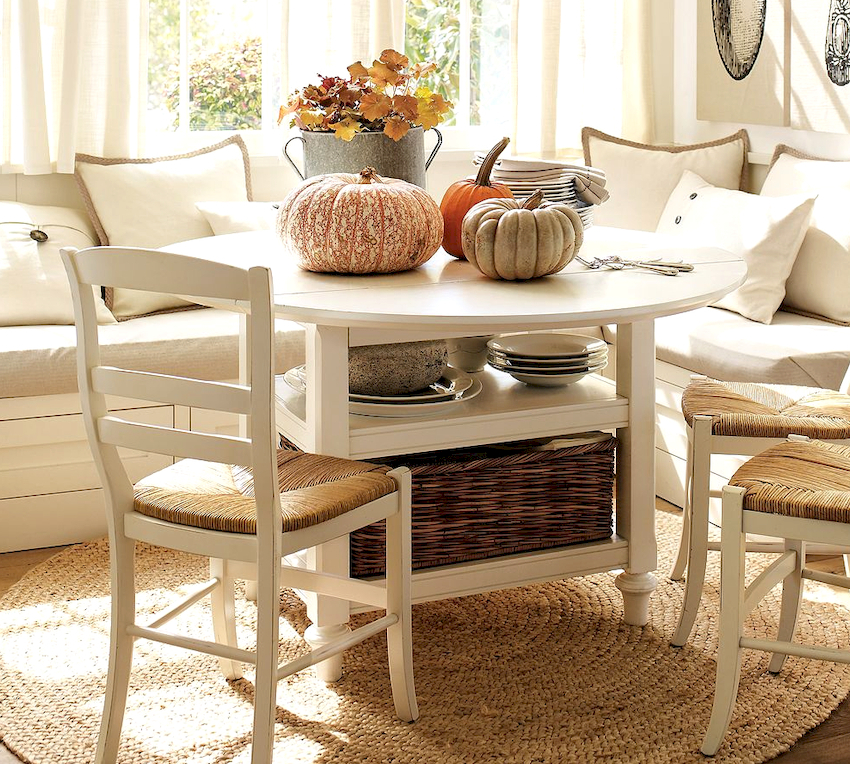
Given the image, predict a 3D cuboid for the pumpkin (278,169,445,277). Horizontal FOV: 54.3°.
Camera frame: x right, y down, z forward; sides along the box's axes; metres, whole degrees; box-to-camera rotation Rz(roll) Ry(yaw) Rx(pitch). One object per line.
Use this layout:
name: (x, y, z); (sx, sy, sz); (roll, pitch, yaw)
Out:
pumpkin: (-0.111, -0.308, 1.617); (0.289, 0.158, 0.268); (0, 17, -5)

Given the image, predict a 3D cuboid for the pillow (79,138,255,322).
pillow: (-0.866, -0.532, 2.938); (0.672, 0.558, 0.229); (-21, 21, -33)

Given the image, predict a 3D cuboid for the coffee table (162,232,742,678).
coffee table: (0.023, 0.007, 1.827); (1.092, 0.622, 1.018); (-6, 15, -24)

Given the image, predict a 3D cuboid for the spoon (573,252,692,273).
spoon: (0.413, -0.235, 1.681); (0.213, 0.027, 0.074); (2, 3, 24)

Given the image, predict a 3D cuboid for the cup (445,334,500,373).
cup: (0.102, -0.069, 1.948); (0.099, 0.066, 0.092); (-1, 8, 0)

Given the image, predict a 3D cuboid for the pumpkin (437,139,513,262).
pumpkin: (0.119, -0.386, 1.779); (0.165, 0.246, 0.177); (23, 25, 35)

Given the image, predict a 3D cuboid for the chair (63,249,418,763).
chair: (-0.283, 0.218, 1.368); (0.421, 0.880, 0.360); (6, 15, 23)

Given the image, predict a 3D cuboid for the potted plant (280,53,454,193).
potted plant: (-0.150, -0.560, 1.890); (0.394, 0.305, 0.271); (-18, 39, -27)

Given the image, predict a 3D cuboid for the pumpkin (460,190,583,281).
pumpkin: (0.177, -0.271, 1.576); (0.201, 0.134, 0.186); (-14, 18, -40)
